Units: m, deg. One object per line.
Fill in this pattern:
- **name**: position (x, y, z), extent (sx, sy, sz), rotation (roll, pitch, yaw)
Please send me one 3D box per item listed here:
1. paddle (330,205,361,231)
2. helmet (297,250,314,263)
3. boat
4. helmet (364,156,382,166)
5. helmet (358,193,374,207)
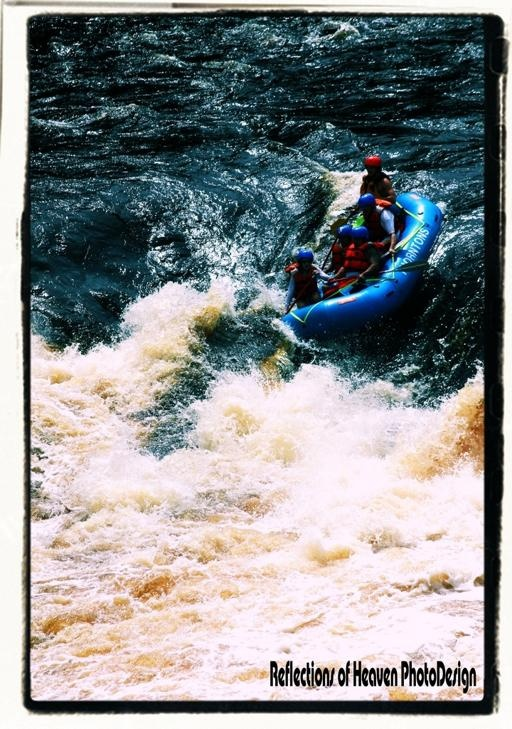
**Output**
- **paddle**: position (0.870, -1.428, 11.794), extent (0.156, 0.119, 0.434), rotation (11, 25, 29)
- **helmet**: position (0.471, -1.022, 11.365), extent (0.117, 0.104, 0.147), rotation (1, -10, -8)
- **boat**: position (1.089, -0.948, 10.885), extent (0.974, 1.571, 0.357), rotation (21, -24, 51)
- **helmet**: position (1.097, -1.883, 11.313), extent (0.156, 0.105, 0.104), rotation (13, 16, -3)
- **helmet**: position (1.052, -1.549, 11.373), extent (0.113, 0.119, 0.148), rotation (2, 3, 29)
